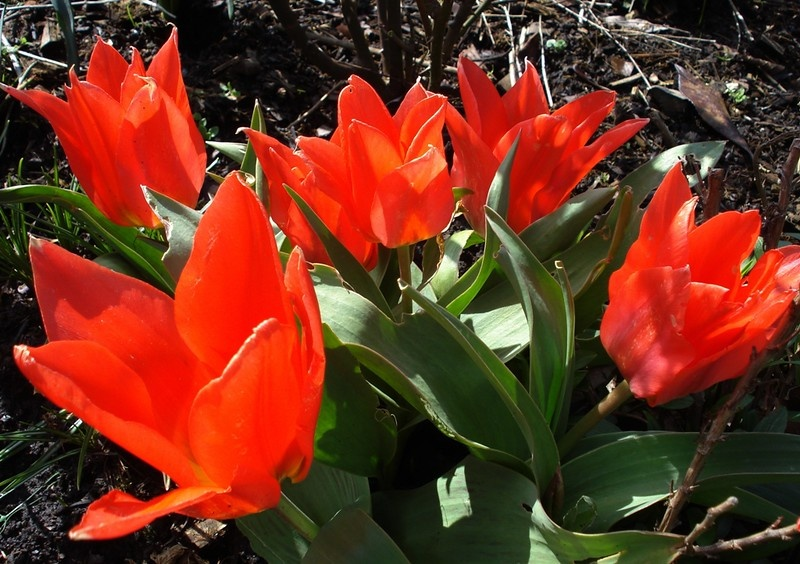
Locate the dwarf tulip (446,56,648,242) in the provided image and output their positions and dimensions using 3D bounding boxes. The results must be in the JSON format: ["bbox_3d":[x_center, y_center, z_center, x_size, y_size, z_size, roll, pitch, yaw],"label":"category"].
[{"bbox_3d":[0.253,-0.292,1.448,0.368,0.348,0.324,30,29,12],"label":"dwarf tulip"}]

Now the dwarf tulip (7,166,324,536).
[{"bbox_3d":[-0.278,0.125,1.140,0.466,0.368,0.508,-5,74,9],"label":"dwarf tulip"}]

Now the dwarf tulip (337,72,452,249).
[{"bbox_3d":[0.010,-0.216,1.343,0.237,0.344,0.303,0,22,16],"label":"dwarf tulip"}]
